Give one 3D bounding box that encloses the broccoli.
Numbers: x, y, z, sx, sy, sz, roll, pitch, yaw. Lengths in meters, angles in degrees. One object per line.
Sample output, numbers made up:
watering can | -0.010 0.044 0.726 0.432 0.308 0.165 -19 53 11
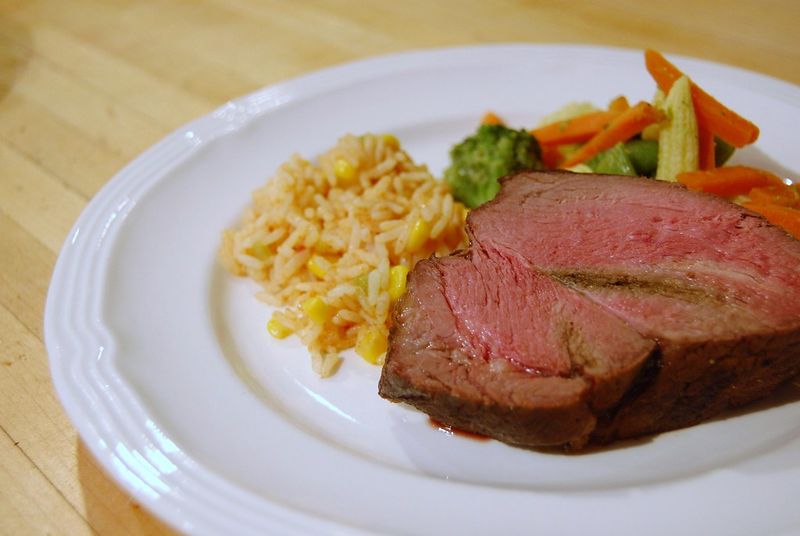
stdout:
broccoli | 0.545 -0.650 4.287 0.608 0.436 0.444 0 -61 14
